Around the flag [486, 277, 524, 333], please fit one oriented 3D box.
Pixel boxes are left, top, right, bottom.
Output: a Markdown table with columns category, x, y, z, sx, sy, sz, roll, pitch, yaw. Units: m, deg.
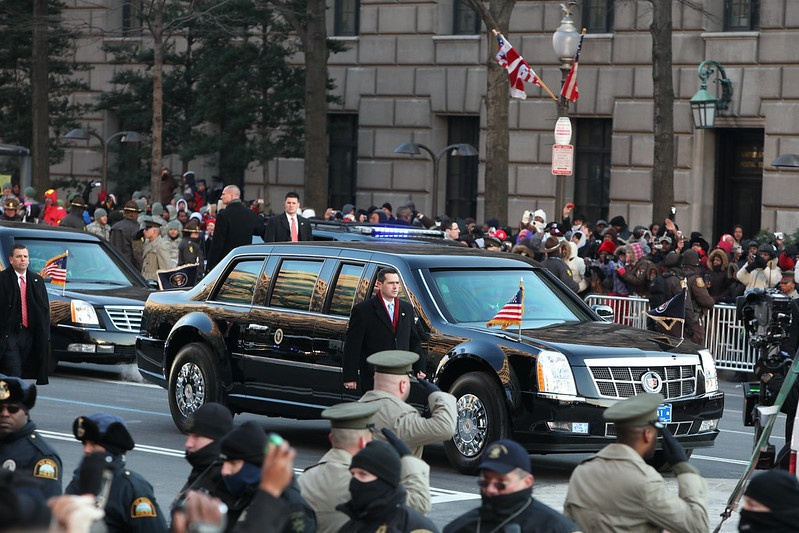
| category | x | y | z | sx | sy | sz | roll | pitch | yaw |
| --- | --- | --- | --- | --- | --- | --- | --- | --- | --- |
| flag | 1.598 | 0.528 | 27.033 | 0.534 | 0.900 | 0.124 | 5 | 29 | 1 |

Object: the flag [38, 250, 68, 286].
| category | x | y | z | sx | sy | sz | roll | pitch | yaw |
| --- | --- | --- | --- | --- | --- | --- | --- | --- | --- |
| flag | -6.043 | 0.020 | 32.302 | 0.664 | 0.824 | 0.103 | -3 | 33 | -20 |

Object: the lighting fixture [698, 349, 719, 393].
| category | x | y | z | sx | sy | sz | roll | pitch | yaw |
| --- | --- | --- | --- | --- | --- | --- | --- | --- | --- |
| lighting fixture | 4.591 | 1.533 | 27.452 | 0.274 | 0.630 | 0.413 | 2 | 0 | 24 |

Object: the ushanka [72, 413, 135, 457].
| category | x | y | z | sx | sy | sz | roll | pitch | yaw |
| --- | --- | --- | --- | --- | --- | --- | --- | --- | --- |
| ushanka | -3.710 | 2.045 | 22.758 | 0.978 | 0.488 | 0.650 | 0 | 2 | 39 |

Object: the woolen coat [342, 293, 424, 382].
| category | x | y | z | sx | sy | sz | roll | pitch | yaw |
| --- | --- | --- | --- | --- | --- | --- | --- | --- | --- |
| woolen coat | -0.246 | 1.049 | 27.106 | 1.323 | 1.259 | 0.672 | -1 | -1 | -26 |

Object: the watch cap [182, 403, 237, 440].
| category | x | y | z | sx | sy | sz | roll | pitch | yaw |
| --- | --- | --- | --- | --- | --- | --- | --- | --- | --- |
| watch cap | -2.323 | 1.878 | 22.721 | 0.553 | 0.335 | 0.395 | 10 | 3 | -3 |

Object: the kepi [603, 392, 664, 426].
| category | x | y | z | sx | sy | sz | roll | pitch | yaw |
| --- | --- | --- | --- | --- | --- | --- | --- | --- | --- |
| kepi | 2.869 | 1.746 | 22.715 | 0.519 | 0.177 | 0.428 | -6 | 9 | -4 |

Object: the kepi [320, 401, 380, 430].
| category | x | y | z | sx | sy | sz | roll | pitch | yaw |
| --- | --- | --- | --- | --- | --- | --- | --- | --- | --- |
| kepi | -0.593 | 1.810 | 22.787 | 0.444 | 0.153 | 0.406 | 1 | 4 | 21 |

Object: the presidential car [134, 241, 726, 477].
| category | x | y | z | sx | sy | sz | roll | pitch | yaw |
| --- | --- | --- | --- | --- | --- | --- | --- | --- | --- |
| presidential car | 0.218 | 1.359 | 27.623 | 5.494 | 3.333 | 8.459 | -2 | 3 | -41 |
